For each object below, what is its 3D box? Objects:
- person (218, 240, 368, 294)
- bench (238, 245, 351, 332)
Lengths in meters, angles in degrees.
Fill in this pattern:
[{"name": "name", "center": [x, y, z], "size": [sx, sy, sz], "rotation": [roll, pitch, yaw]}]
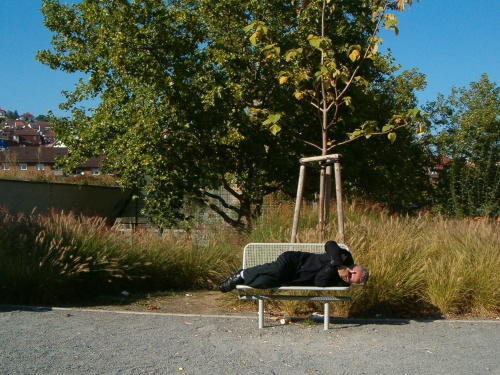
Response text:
[{"name": "person", "center": [0.813, 1.239, 9.171], "size": [1.723, 0.661, 0.602], "rotation": [-6, 1, 31]}, {"name": "bench", "center": [0.701, 1.554, 9.369], "size": [1.768, 1.262, 0.761], "rotation": [1, -8, 0]}]
